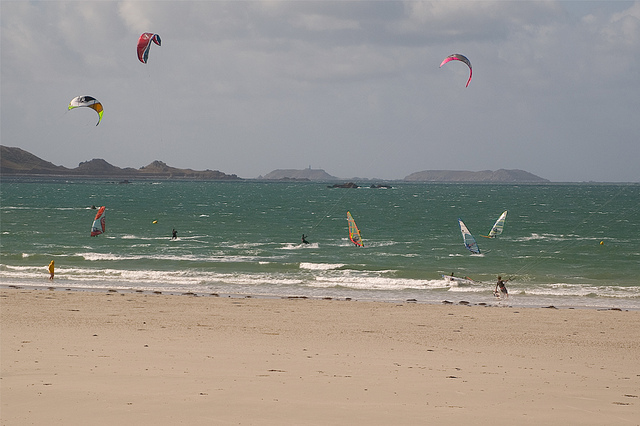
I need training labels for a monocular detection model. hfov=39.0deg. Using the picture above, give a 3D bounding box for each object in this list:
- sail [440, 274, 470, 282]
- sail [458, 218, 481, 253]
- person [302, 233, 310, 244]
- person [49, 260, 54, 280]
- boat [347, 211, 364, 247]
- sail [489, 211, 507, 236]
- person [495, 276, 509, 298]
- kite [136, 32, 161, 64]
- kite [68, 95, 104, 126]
[{"bbox_3d":[7.439,3.609,49.632,1.128,0.230,0.927,-1,12,-7],"label":"sail"},{"bbox_3d":[10.666,1.744,64.355,0.463,1.730,1.793,-32,-21,5],"label":"sail"},{"bbox_3d":[-0.943,1.881,63.283,0.452,0.639,1.240,0,13,-4],"label":"person"},{"bbox_3d":[-14.446,3.150,48.822,0.320,0.937,0.973,-1,12,-14],"label":"person"},{"bbox_3d":[2.268,1.310,59.794,0.825,2.794,0.420,-1,-43,-22],"label":"boat"},{"bbox_3d":[14.673,0.943,74.521,0.417,1.599,1.668,15,-22,-7],"label":"sail"},{"bbox_3d":[9.300,3.805,46.059,0.632,1.086,1.390,2,13,4],"label":"person"},{"bbox_3d":[-9.142,-8.902,47.127,0.924,1.550,1.413,7,-51,-20],"label":"kite"},{"bbox_3d":[-12.513,-5.902,50.965,2.404,0.553,2.265,12,-8,19],"label":"kite"}]
